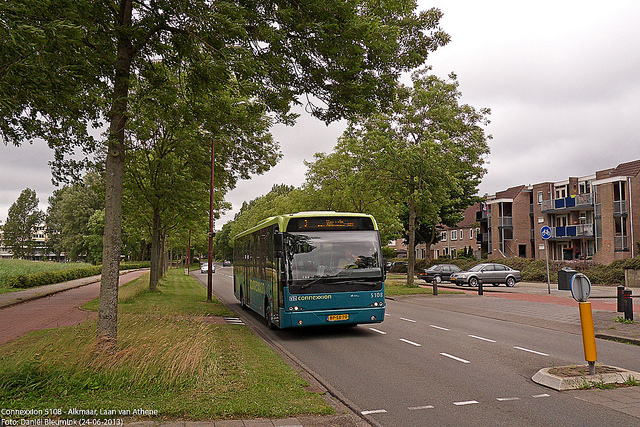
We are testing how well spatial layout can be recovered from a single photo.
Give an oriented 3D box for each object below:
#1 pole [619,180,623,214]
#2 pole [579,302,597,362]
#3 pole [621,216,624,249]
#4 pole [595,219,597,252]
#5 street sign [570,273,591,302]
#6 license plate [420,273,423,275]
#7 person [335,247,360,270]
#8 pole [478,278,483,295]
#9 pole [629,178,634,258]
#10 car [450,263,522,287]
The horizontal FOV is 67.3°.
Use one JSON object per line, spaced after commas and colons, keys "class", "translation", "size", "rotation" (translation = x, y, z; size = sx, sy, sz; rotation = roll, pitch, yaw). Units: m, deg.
{"class": "pole", "translation": [26.860, -1.401, 42.802], "size": [0.233, 2.937, 0.246], "rotation": [-5, -8, 41]}
{"class": "pole", "translation": [5.955, 2.649, 10.672], "size": [0.269, 1.321, 0.686], "rotation": [-3, -8, 28]}
{"class": "pole", "translation": [26.901, 1.704, 42.620], "size": [0.146, 2.898, 0.294], "rotation": [-3, -7, 33]}
{"class": "pole", "translation": [26.060, 2.022, 45.236], "size": [0.109, 2.975, 0.601], "rotation": [-1, -7, 19]}
{"class": "street sign", "translation": [5.804, 1.642, 10.654], "size": [0.550, 0.636, 0.251], "rotation": [3, -7, -18]}
{"class": "license plate", "translation": [8.382, 5.023, 39.708], "size": [0.124, 0.120, 0.445], "rotation": [-1, -10, -5]}
{"class": "person", "translation": [0.840, 1.478, 14.720], "size": [0.937, 0.662, 0.544], "rotation": [2, -9, -17]}
{"class": "pole", "translation": [9.125, 4.175, 27.282], "size": [0.172, 0.847, 0.148], "rotation": [6, -8, -41]}
{"class": "pole", "translation": [27.366, 0.078, 42.178], "size": [0.217, 6.158, 0.259], "rotation": [-2, -7, 21]}
{"class": "car", "translation": [12.096, 4.469, 34.738], "size": [4.408, 1.723, 1.260], "rotation": [-1, -8, 10]}
